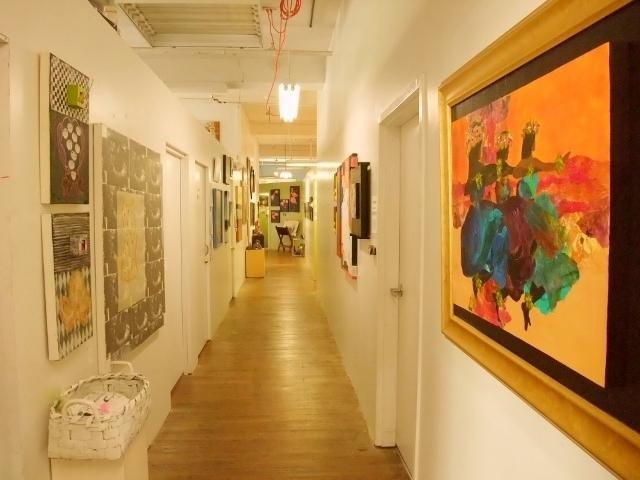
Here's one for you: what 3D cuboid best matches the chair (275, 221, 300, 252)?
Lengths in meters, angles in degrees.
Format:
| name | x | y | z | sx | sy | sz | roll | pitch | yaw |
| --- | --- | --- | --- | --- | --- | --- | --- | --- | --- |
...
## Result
| name | x | y | z | sx | sy | sz | roll | pitch | yaw |
| --- | --- | --- | --- | --- | --- | --- | --- | --- | --- |
| chair | -1.200 | -0.086 | 17.230 | 0.805 | 1.328 | 1.084 | -2 | 1 | 18 |

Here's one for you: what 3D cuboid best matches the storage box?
| name | x | y | z | sx | sy | sz | roll | pitch | yaw |
| --- | --- | --- | --- | --- | --- | --- | --- | --- | --- |
| storage box | -1.103 | 0.858 | 2.436 | 0.336 | 0.348 | 0.562 | 0 | 4 | -6 |

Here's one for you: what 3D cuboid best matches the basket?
| name | x | y | z | sx | sy | sz | roll | pitch | yaw |
| --- | --- | --- | --- | --- | --- | --- | --- | --- | --- |
| basket | -1.060 | 0.862 | 2.364 | 0.243 | 0.241 | 0.404 | 1 | -2 | -4 |

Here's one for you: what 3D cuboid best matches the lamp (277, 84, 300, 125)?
| name | x | y | z | sx | sy | sz | roll | pitch | yaw |
| --- | --- | --- | --- | --- | --- | --- | --- | --- | --- |
| lamp | -0.291 | -1.317 | 4.369 | 0.181 | 0.349 | 0.637 | 0 | 5 | -4 |
